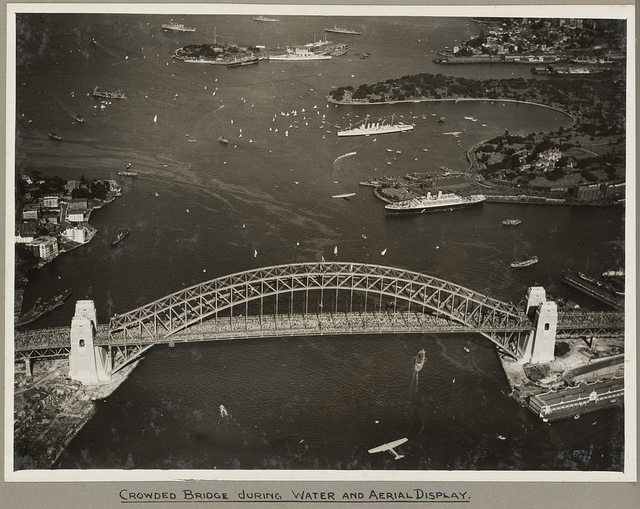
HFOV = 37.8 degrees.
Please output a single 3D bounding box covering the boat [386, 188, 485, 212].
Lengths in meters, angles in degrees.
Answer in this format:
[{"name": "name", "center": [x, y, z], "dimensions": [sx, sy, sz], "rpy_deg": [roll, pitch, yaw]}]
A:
[{"name": "boat", "center": [0.785, -0.384, 6.661], "dimensions": [0.829, 0.193, 0.138], "rpy_deg": [-1, 7, -5]}]
